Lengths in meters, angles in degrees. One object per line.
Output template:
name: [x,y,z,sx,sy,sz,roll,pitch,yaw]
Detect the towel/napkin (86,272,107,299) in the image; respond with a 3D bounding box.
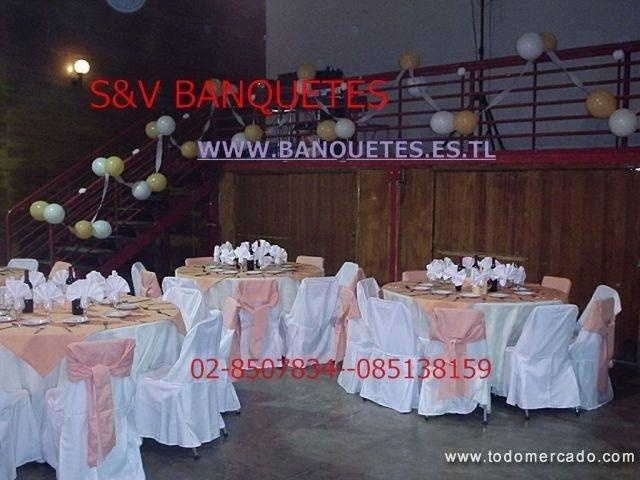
towel/napkin: [-2.031,0.409,5.278,0.210,0.262,0.075,-22,-16,14]

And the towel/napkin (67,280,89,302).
towel/napkin: [-2.155,0.450,5.117,0.151,0.200,0.060,6,8,4]

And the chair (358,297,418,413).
chair: [0.683,1.135,5.665,0.585,1.112,0.327,0,-2,14]

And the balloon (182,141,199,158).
balloon: [-2.227,-1.519,9.850,0.239,0.341,0.268,-6,-10,10]

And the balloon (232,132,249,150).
balloon: [-1.397,-1.706,9.942,0.262,0.368,0.278,-2,1,-23]

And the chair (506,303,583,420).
chair: [2.150,1.155,5.494,0.666,1.075,0.495,0,-2,18]

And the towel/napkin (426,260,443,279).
towel/napkin: [1.308,0.323,6.450,0.175,0.226,0.099,-9,-7,34]

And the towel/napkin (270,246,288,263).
towel/napkin: [-0.559,0.205,7.831,0.206,0.239,0.436,1,-3,2]

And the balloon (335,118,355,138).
balloon: [0.376,-1.688,8.565,0.250,0.360,0.279,-2,4,-7]

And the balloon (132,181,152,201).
balloon: [-2.776,-0.772,8.885,0.241,0.349,0.270,2,3,12]

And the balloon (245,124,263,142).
balloon: [-1.095,-1.824,9.565,0.242,0.338,0.269,-8,30,-12]

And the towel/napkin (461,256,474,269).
towel/napkin: [1.697,0.254,6.582,0.111,0.119,0.123,1,-4,-33]

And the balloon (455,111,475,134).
balloon: [1.907,-1.523,7.590,0.267,0.367,0.267,-3,3,-39]

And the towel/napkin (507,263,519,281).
towel/napkin: [2.128,0.365,6.348,0.091,0.160,0.135,-10,-22,34]

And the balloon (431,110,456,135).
balloon: [1.698,-1.624,7.929,0.287,0.413,0.321,3,13,13]

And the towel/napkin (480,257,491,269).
towel/napkin: [1.811,0.245,6.275,0.107,0.129,0.099,-2,0,8]

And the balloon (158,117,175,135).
balloon: [-2.497,-1.864,9.358,0.257,0.365,0.280,0,9,-19]

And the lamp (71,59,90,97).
lamp: [-4.245,-2.923,10.084,0.330,0.519,0.181,2,-2,-29]

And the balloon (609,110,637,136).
balloon: [3.526,-1.343,6.710,0.264,0.378,0.295,2,0,-8]

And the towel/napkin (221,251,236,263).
towel/napkin: [-1.198,0.227,7.683,0.126,0.210,0.181,1,5,41]

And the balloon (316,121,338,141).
balloon: [0.126,-1.736,8.857,0.360,0.352,0.302,0,-2,22]

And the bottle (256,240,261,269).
bottle: [-0.802,0.206,7.574,0.074,0.345,0.351,1,-2,-6]

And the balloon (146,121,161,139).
balloon: [-2.765,-1.864,9.538,0.413,0.252,0.187,-2,-3,44]

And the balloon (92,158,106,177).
balloon: [-3.329,-1.146,8.673,0.149,0.275,0.476,2,-3,-31]

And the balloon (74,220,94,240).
balloon: [-3.509,-0.167,8.513,0.262,0.359,0.265,-2,4,-37]

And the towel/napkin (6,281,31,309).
towel/napkin: [-2.729,0.493,5.193,0.201,0.260,0.087,10,-24,-13]

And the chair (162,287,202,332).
chair: [-1.416,0.723,6.048,0.347,0.575,0.429,-1,-5,10]

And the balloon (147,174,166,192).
balloon: [-2.627,-0.920,9.254,0.248,0.356,0.277,2,-10,-11]

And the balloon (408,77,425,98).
balloon: [1.423,-2.339,8.586,0.264,0.319,0.660,0,-3,9]

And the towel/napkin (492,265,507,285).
towel/napkin: [1.958,0.399,6.201,0.078,0.196,0.176,-18,6,43]

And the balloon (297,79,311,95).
balloon: [-0.264,-2.422,9.055,0.209,0.294,0.225,-3,5,-18]

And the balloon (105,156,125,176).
balloon: [-3.080,-1.107,8.603,0.258,0.348,0.278,-13,39,-26]

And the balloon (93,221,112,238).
balloon: [-3.205,-0.170,8.444,0.230,0.319,0.239,-6,12,-30]

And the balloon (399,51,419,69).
balloon: [1.302,-2.632,8.552,0.246,0.313,0.275,0,-2,-19]

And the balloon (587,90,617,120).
balloon: [3.328,-1.631,6.785,0.322,0.337,0.277,-1,-3,29]

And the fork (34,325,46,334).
fork: [-2.318,0.744,4.757,0.032,0.033,0.125,9,16,1]

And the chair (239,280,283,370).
chair: [-0.710,0.968,6.819,0.540,1.003,0.276,1,-2,-11]

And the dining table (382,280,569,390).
dining table: [1.592,0.796,6.003,1.099,0.699,1.245,0,4,-2]

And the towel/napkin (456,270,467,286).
towel/napkin: [1.537,0.428,6.229,0.057,0.147,0.135,21,11,-27]

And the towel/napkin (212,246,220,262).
towel/napkin: [-1.420,0.197,7.939,0.065,0.224,0.397,1,-3,-10]

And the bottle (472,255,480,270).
bottle: [1.775,0.247,6.512,0.068,0.162,0.449,0,-3,15]

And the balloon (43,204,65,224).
balloon: [-3.846,-0.401,8.304,0.251,0.350,0.260,-5,10,-31]

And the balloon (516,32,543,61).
balloon: [2.713,-2.484,7.376,0.309,0.348,0.366,0,-3,24]

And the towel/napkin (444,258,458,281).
towel/napkin: [1.468,0.316,6.363,0.202,0.237,0.081,-17,-19,42]
